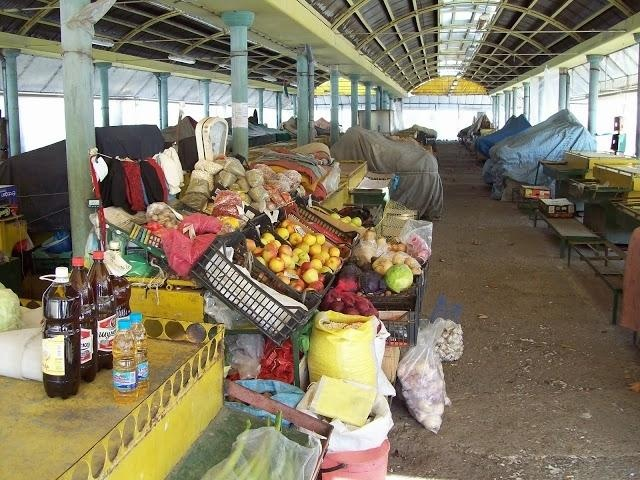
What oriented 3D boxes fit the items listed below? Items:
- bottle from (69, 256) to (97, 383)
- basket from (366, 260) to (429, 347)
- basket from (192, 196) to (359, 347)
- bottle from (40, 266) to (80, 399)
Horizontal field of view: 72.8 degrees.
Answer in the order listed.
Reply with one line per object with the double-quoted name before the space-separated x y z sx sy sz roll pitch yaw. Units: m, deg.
"bottle" -0.833 0.283 1.529 0.144 0.374 0.152 0 8 0
"basket" 0.682 0.542 3.584 0.513 0.461 0.642 3 15 14
"basket" -0.430 0.284 3.225 0.658 0.293 0.990 34 12 -1
"bottle" -0.813 0.307 1.424 0.126 0.413 0.163 0 14 -8
